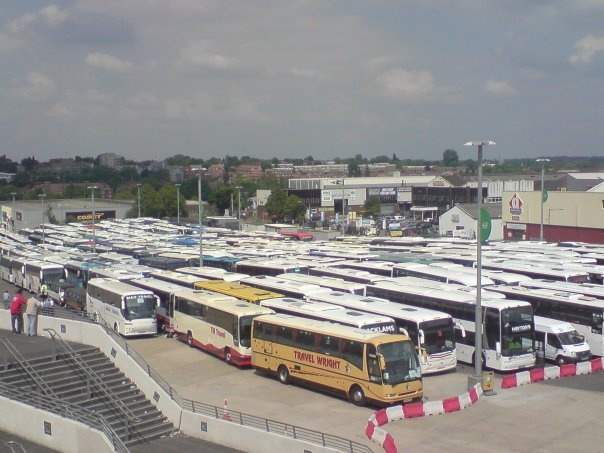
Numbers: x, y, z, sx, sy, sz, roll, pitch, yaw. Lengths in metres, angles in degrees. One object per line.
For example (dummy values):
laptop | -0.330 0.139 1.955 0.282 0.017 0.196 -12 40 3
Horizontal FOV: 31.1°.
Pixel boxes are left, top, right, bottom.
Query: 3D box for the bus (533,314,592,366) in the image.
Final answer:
bus | 11.816 5.332 49.403 2.362 1.973 1.197 1 3 14

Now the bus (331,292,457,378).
bus | 4.036 4.639 50.055 2.128 2.151 7.217 -4 6 -30

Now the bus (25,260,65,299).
bus | -15.125 3.034 64.645 1.299 1.461 4.990 0 2 -28

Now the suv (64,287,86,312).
suv | -12.299 3.948 58.914 0.769 1.326 2.547 -1 4 -36

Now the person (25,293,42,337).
person | -12.376 4.235 50.134 0.654 1.789 0.933 -1 3 -15

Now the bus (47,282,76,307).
bus | -13.756 3.936 62.046 1.075 1.009 1.839 -3 5 -37

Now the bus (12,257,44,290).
bus | -16.515 2.986 66.688 1.258 1.416 4.851 -1 4 -29

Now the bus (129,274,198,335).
bus | -7.047 3.721 54.760 1.488 1.324 4.387 -2 7 -31

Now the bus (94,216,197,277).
bus | -11.151 1.471 77.180 3.018 2.265 12.686 -6 7 -33
